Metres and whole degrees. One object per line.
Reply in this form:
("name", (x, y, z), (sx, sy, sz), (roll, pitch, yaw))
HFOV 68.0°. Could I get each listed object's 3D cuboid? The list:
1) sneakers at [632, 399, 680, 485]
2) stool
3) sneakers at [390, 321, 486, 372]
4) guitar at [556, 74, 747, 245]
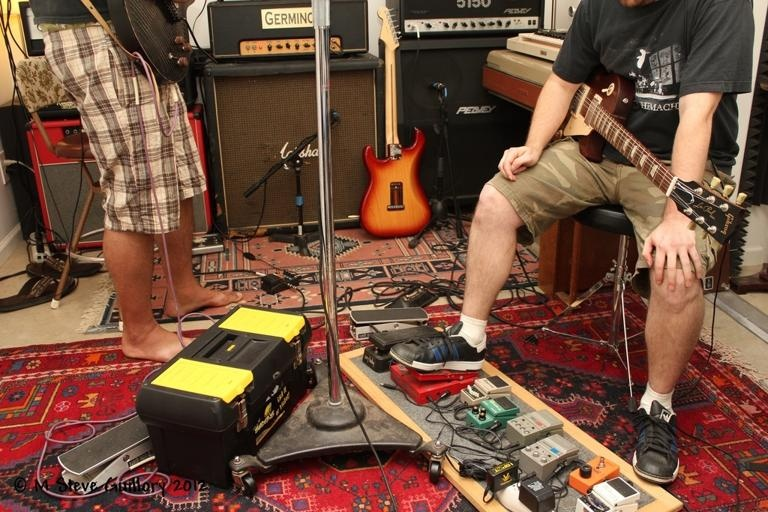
("sneakers", (0.871, 0.595, 1.876), (0.112, 0.133, 0.327), (2, 15, 15))
("stool", (0.854, 0.229, 2.361), (0.556, 0.593, 0.484), (-12, 32, -14))
("sneakers", (0.207, 0.338, 2.134), (0.354, 0.178, 0.136), (2, 18, -14))
("guitar", (0.971, -0.373, 2.031), (0.275, 0.481, 0.822), (-13, 27, -16))
